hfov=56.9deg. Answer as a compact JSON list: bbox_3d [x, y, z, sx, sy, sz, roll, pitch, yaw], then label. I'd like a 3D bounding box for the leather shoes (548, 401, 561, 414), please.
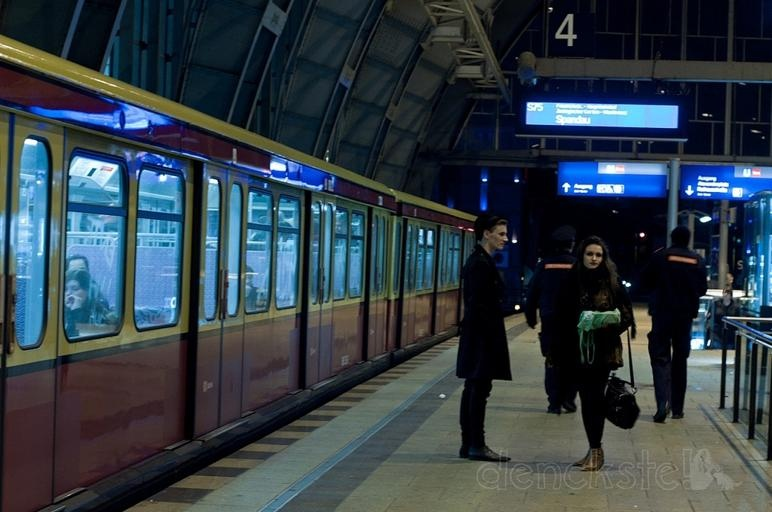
[{"bbox_3d":[2.364,2.130,9.964,0.196,0.190,0.120,4,-6,10],"label":"leather shoes"}]

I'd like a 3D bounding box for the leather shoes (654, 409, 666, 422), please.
[{"bbox_3d":[3.600,2.083,9.316,0.152,0.166,0.167,0,-1,16],"label":"leather shoes"}]

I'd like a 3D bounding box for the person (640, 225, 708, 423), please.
[{"bbox_3d":[3.781,1.037,9.346,0.778,2.255,0.351,0,-1,11],"label":"person"}]

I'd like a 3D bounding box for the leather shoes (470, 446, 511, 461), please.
[{"bbox_3d":[1.093,2.074,7.529,0.450,0.167,0.160,0,-4,5],"label":"leather shoes"}]

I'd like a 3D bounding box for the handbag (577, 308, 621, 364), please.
[{"bbox_3d":[2.165,0.781,7.101,0.428,0.468,0.447,-1,-3,-8],"label":"handbag"}]

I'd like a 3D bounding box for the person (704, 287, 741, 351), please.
[{"bbox_3d":[9.841,1.794,20.757,1.134,1.809,1.069,-11,13,12],"label":"person"}]
